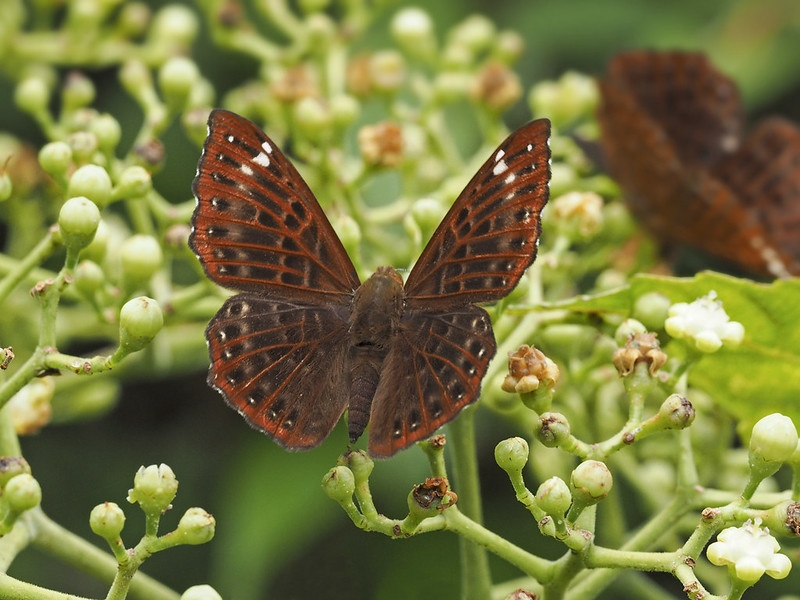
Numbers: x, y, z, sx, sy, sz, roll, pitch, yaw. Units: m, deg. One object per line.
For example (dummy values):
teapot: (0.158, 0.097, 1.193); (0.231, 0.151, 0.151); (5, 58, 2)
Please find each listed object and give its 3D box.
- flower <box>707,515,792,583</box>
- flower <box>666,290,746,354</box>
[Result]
flower: (0.525, 0.382, 1.566); (0.104, 0.075, 0.095); (19, 50, 24)
flower: (0.516, 0.038, 1.757); (0.111, 0.116, 0.061); (-6, -25, -10)
